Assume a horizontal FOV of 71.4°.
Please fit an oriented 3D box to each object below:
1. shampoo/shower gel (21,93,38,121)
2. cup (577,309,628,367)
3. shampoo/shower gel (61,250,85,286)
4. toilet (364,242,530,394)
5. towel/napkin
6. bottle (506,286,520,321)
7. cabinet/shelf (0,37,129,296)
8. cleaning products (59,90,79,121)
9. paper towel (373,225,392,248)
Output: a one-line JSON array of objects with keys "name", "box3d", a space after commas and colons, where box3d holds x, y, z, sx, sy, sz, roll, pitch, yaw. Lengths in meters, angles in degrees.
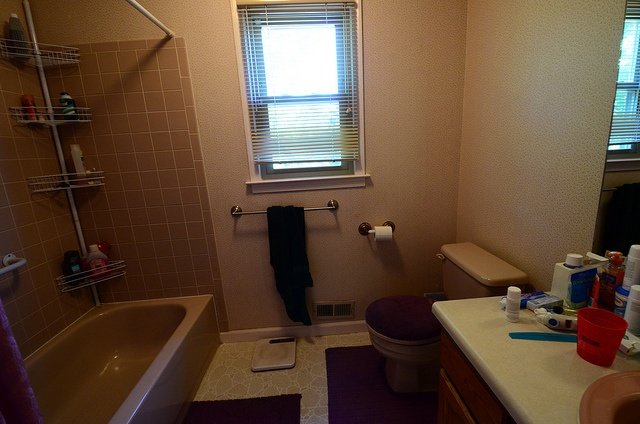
[{"name": "shampoo/shower gel", "box3d": [-1.937, -0.694, 2.962, 0.084, 0.173, 0.175, -15, 17, -29]}, {"name": "cup", "box3d": [1.412, 0.621, 2.220, 0.216, 0.253, 0.170, 1, 17, 28]}, {"name": "shampoo/shower gel", "box3d": [-1.753, 0.385, 3.152, 0.141, 0.255, 0.061, -9, 3, -32]}, {"name": "toilet", "box3d": [0.752, 0.642, 3.264, 1.076, 0.935, 0.836, -3, 16, -3]}, {"name": "towel/napkin", "box3d": [-0.207, 0.399, 3.303, 0.300, 0.901, 0.181, -8, 15, -4]}, {"name": "bottle", "box3d": [1.043, 0.490, 2.386, 0.085, 0.180, 0.085, -7, 15, 2]}, {"name": "cabinet/shelf", "box3d": [-1.760, -0.266, 3.118, 0.502, 1.834, 0.331, -14, 16, -22]}, {"name": "cleaning products", "box3d": [-1.736, -0.730, 3.065, 0.099, 0.189, 0.150, -14, 16, -25]}, {"name": "paper towel", "box3d": [0.470, 0.161, 3.269, 0.207, 0.091, 0.105, 0, 46, -2]}]
